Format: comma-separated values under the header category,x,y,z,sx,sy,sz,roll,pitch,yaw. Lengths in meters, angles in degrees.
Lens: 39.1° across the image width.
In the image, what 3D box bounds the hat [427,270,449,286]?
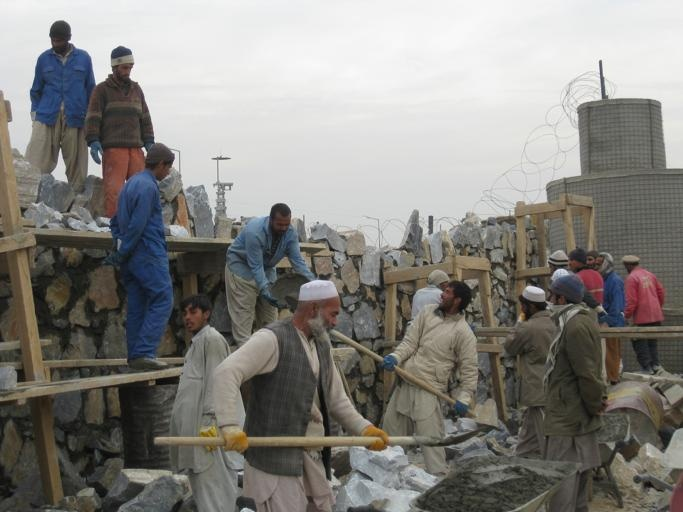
category,x,y,z,sx,sy,sz,roll,pitch,yaw
hat,1.395,0.310,13.660,0.251,0.223,0.188,-26,2,29

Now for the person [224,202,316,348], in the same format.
category,x,y,z,sx,sy,sz,roll,pitch,yaw
person,-0.892,0.376,12.199,1.214,2.301,0.770,17,22,30

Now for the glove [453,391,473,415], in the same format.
category,x,y,z,sx,sy,sz,roll,pitch,yaw
glove,1.535,1.855,12.101,0.221,0.310,0.415,-1,-3,7

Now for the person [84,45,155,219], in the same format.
category,x,y,z,sx,sy,sz,roll,pitch,yaw
person,-3.072,-1.568,13.397,0.873,2.765,0.541,-3,33,-18

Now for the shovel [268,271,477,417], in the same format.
category,x,y,z,sx,sy,sz,roll,pitch,yaw
shovel,0.401,1.103,11.923,1.464,1.188,1.215,18,14,17

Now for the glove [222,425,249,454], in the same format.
category,x,y,z,sx,sy,sz,roll,pitch,yaw
glove,-0.955,1.636,8.593,0.228,0.236,0.170,0,-3,-9

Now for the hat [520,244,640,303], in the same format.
category,x,y,z,sx,sy,sz,roll,pitch,yaw
hat,3.599,0.200,13.993,0.962,0.858,0.971,7,-7,-40

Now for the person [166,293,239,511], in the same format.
category,x,y,z,sx,sy,sz,roll,pitch,yaw
person,-1.473,1.604,10.101,0.788,2.938,1.135,4,-20,-10

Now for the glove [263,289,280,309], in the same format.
category,x,y,z,sx,sy,sz,roll,pitch,yaw
glove,-0.859,0.547,11.956,0.065,0.259,0.189,-34,51,-12

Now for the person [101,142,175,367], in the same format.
category,x,y,z,sx,sy,sz,roll,pitch,yaw
person,-2.313,-0.021,11.145,0.693,2.636,0.518,0,-3,-13

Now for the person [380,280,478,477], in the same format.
category,x,y,z,sx,sy,sz,roll,pitch,yaw
person,1.085,1.579,12.445,1.160,2.839,0.859,16,24,15

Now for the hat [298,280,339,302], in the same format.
category,x,y,z,sx,sy,sz,roll,pitch,yaw
hat,-0.222,0.327,9.033,0.264,0.162,0.206,-16,-1,3

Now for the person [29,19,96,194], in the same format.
category,x,y,z,sx,sy,sz,roll,pitch,yaw
person,-4.030,-2.105,13.616,0.867,2.494,0.642,-2,26,-22

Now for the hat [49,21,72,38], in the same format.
category,x,y,z,sx,sy,sz,roll,pitch,yaw
hat,-3.858,-3.114,13.162,0.246,0.248,0.421,1,-4,-21
